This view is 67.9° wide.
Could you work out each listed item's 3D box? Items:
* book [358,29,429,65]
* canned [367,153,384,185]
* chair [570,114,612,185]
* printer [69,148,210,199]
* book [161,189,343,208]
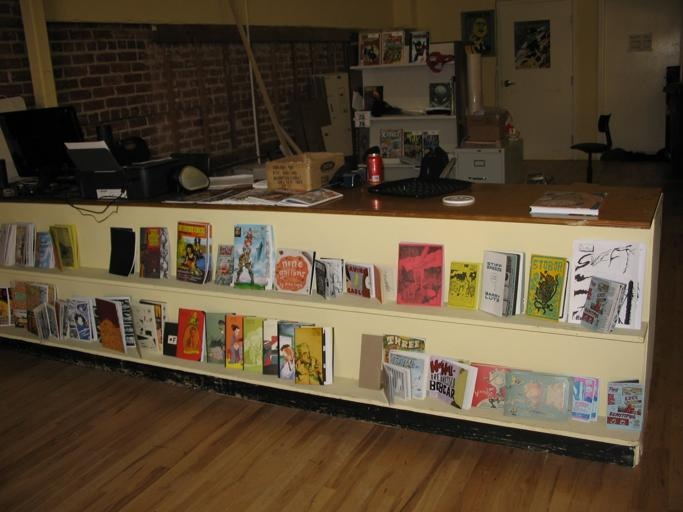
[{"bbox_3d":[0.638,-2.551,6.239,0.935,0.416,0.193,5,18,26],"label":"book"},{"bbox_3d":[0.238,-0.555,3.338,0.120,0.209,0.118,-1,2,-27],"label":"canned"},{"bbox_3d":[3.654,-1.482,7.445,0.605,1.083,0.581,2,12,24],"label":"chair"},{"bbox_3d":[-1.409,-0.596,3.595,0.891,0.371,0.898,-10,15,-25],"label":"printer"},{"bbox_3d":[-0.512,-0.367,3.175,1.048,0.063,0.307,3,18,20],"label":"book"}]
